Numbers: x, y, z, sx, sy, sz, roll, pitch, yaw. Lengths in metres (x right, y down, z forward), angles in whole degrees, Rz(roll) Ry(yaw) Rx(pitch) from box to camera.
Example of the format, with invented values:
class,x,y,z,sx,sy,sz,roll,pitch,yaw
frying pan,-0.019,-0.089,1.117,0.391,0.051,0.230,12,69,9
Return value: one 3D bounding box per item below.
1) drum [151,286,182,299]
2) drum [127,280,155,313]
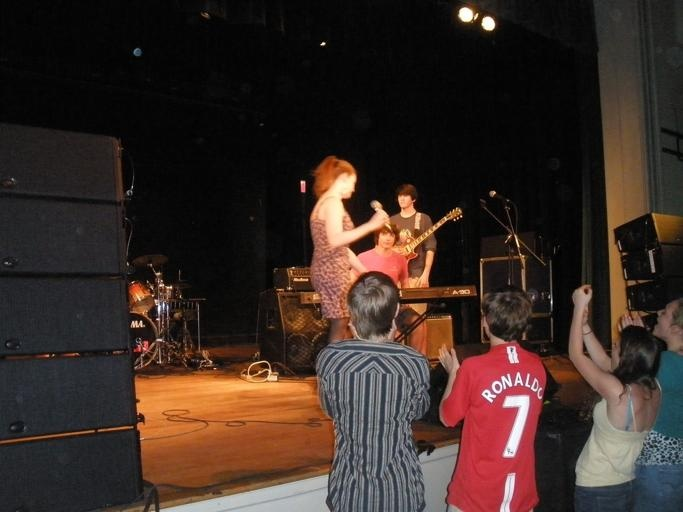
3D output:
class,x,y,z,sx,sy,sz,roll,pitch,yaw
drum,-2.165,0.442,7.072,0.372,0.177,0.339,-2,-5,0
drum,-2.245,0.464,6.356,0.271,0.272,0.278,-29,-24,-19
